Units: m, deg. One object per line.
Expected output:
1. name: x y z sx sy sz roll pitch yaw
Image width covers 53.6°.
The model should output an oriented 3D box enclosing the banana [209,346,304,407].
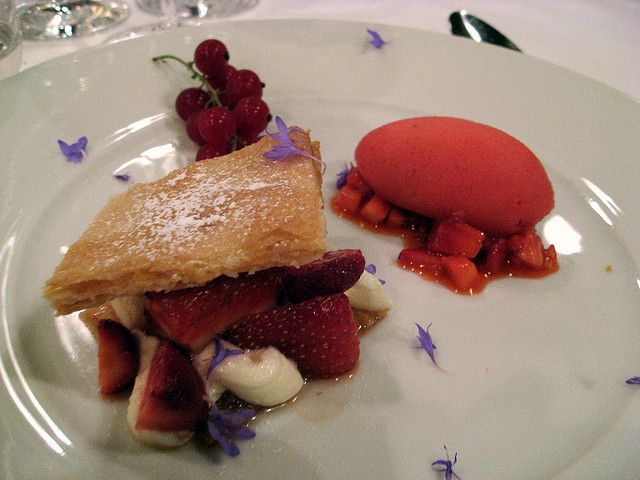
1. banana: -0.257 0.537 2.464 0.332 0.106 0.207 -15 69 -5

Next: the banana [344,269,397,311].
1. banana: 0.211 0.236 2.753 0.237 0.158 0.077 2 22 7

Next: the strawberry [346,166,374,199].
1. strawberry: 0.193 -0.278 3.110 0.147 0.041 0.142 -25 72 -47

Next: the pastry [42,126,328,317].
1. pastry: -0.548 -0.120 2.583 1.099 0.278 0.668 -10 69 -3

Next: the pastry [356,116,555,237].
1. pastry: 0.628 -0.287 3.120 0.861 0.470 0.468 13 90 9

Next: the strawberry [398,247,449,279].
1. strawberry: 0.489 0.108 2.965 0.189 0.044 0.121 19 66 11

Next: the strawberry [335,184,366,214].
1. strawberry: 0.157 -0.189 3.153 0.138 0.089 0.138 -27 69 8
